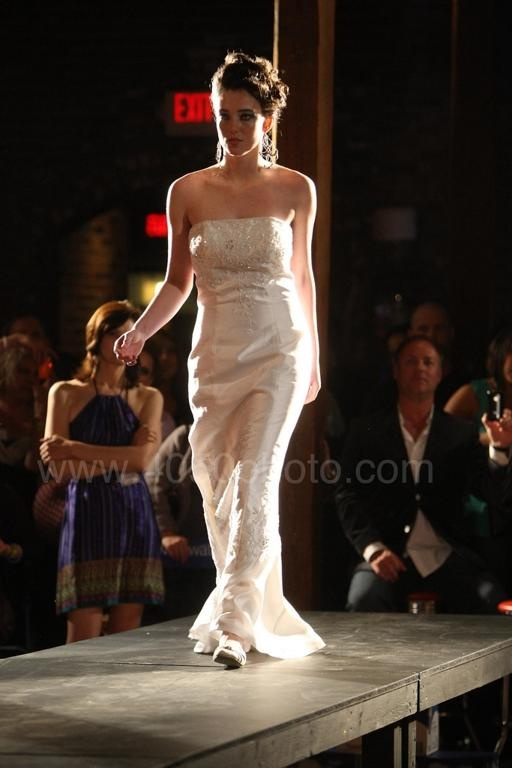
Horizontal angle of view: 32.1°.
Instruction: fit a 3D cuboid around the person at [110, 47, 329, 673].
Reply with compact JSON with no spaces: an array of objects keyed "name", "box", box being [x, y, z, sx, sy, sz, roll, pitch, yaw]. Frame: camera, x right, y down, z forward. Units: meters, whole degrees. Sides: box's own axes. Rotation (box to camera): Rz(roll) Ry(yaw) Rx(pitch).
[{"name":"person","box":[-0.066,-0.096,2.489,0.428,1.654,0.540,-3,-8,20]}]
